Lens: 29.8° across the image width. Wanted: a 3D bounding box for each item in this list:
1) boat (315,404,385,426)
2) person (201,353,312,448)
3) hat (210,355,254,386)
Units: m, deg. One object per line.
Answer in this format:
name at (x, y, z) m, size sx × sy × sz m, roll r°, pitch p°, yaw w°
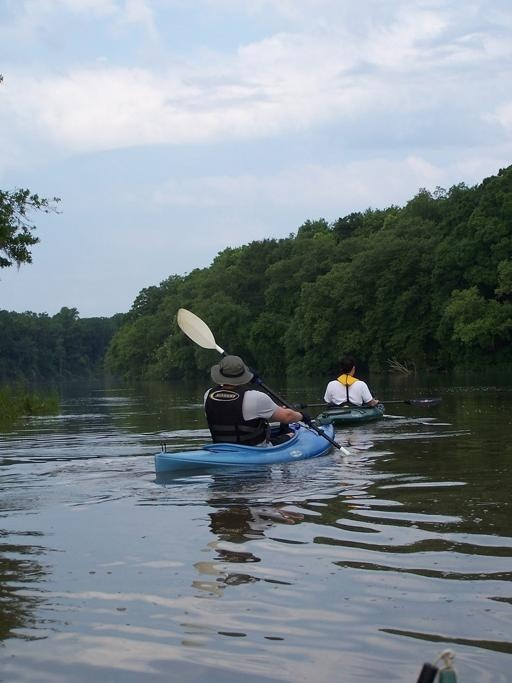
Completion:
boat at (1.517, 1.064, 14.228) m, size 0.386 × 0.161 × 1.180 m, roll 1°, pitch 3°, yaw 37°
person at (-0.082, 0.587, 9.378) m, size 0.783 × 0.893 × 0.820 m, roll -4°, pitch -3°, yaw 10°
hat at (-0.220, 0.283, 9.224) m, size 0.389 × 0.317 × 0.514 m, roll -3°, pitch -3°, yaw -3°
